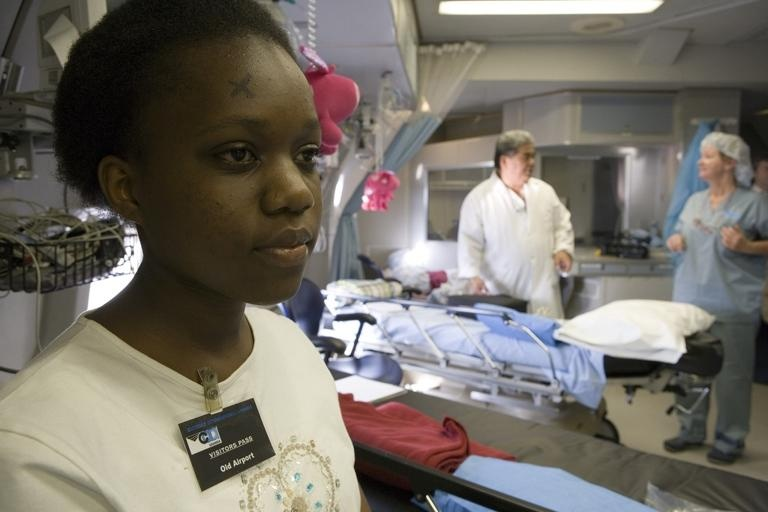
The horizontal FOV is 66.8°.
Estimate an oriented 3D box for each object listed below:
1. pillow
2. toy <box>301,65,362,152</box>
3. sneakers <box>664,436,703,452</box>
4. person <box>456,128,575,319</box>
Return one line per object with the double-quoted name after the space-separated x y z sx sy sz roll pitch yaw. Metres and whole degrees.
1.091 0.331 2.629 0.382 0.113 0.390 -15 9 -42 "pillow"
-0.147 -0.397 1.529 0.150 0.192 0.148 30 23 22 "toy"
1.521 0.958 2.964 0.154 0.058 0.087 -2 5 6 "sneakers"
0.762 -0.174 3.417 0.660 1.062 0.323 3 5 16 "person"
